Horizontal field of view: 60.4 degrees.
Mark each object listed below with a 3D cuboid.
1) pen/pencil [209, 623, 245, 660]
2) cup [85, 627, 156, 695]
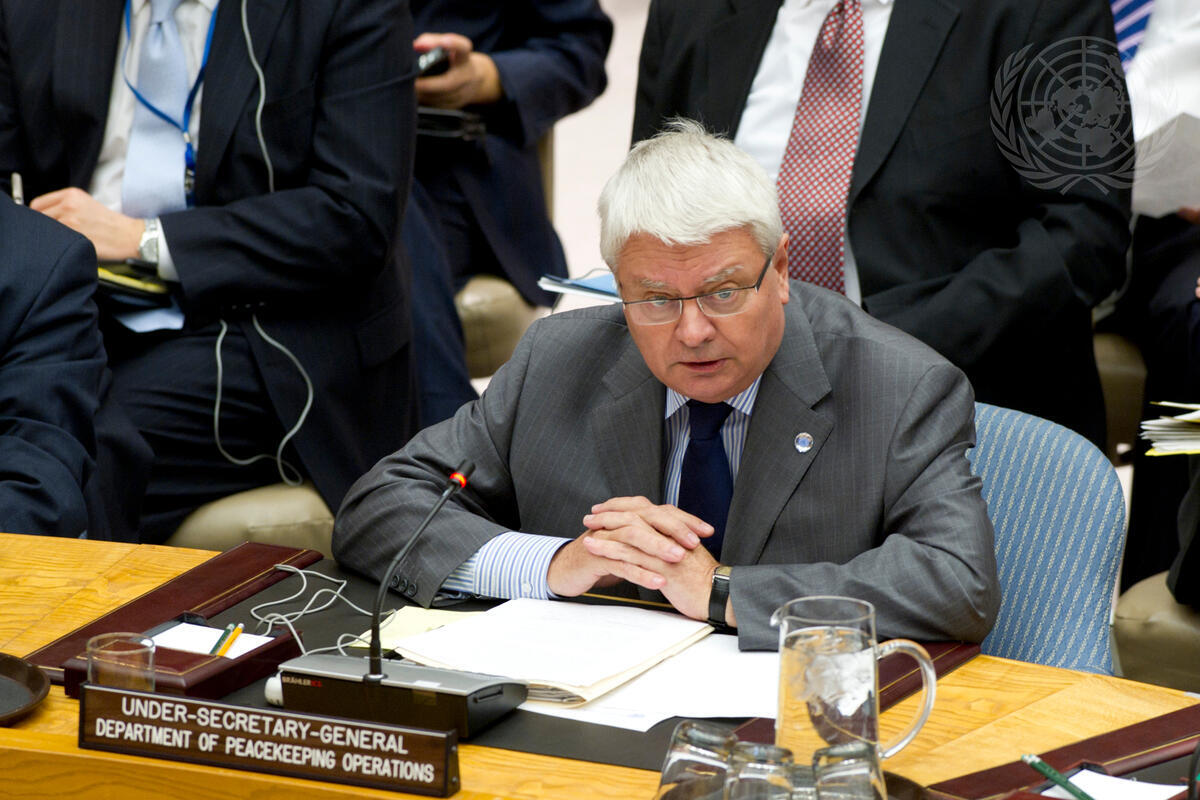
[{"bbox_3d":[-0.674,0.436,1.871,0.013,0.021,0.090,-7,26,20],"label":"pen/pencil"},{"bbox_3d":[-0.781,0.415,1.692,0.098,0.100,0.088,4,5,41],"label":"cup"}]
